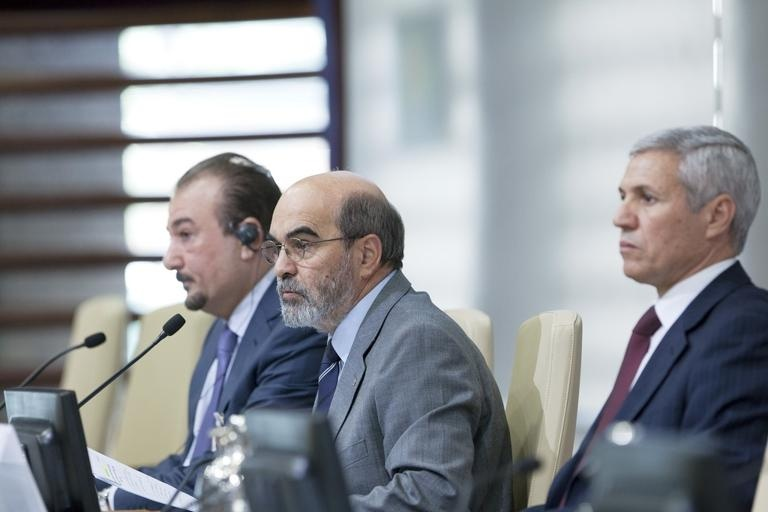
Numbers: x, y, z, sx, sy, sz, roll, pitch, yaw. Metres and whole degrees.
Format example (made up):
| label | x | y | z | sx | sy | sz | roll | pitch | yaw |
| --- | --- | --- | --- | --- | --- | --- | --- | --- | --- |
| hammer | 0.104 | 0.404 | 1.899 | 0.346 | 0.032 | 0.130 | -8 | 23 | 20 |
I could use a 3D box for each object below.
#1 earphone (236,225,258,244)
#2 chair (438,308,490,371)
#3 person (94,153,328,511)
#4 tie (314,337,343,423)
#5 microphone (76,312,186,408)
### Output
| label | x | y | z | sx | sy | sz | roll | pitch | yaw |
| --- | --- | --- | --- | --- | --- | --- | --- | --- | --- |
| earphone | -0.590 | -0.098 | 5.175 | 0.066 | 0.101 | 0.035 | 1 | 8 | 13 |
| chair | 0.313 | 0.350 | 5.083 | 0.186 | 0.277 | 0.223 | -1 | -23 | -1 |
| person | -0.708 | 0.418 | 5.899 | 1.233 | 2.017 | 1.136 | 7 | -12 | -23 |
| tie | -0.230 | 0.510 | 4.838 | 0.070 | 0.311 | 0.026 | 9 | 30 | 3 |
| microphone | -1.160 | 0.479 | 5.517 | 0.590 | 0.065 | 0.066 | -44 | -3 | 11 |
